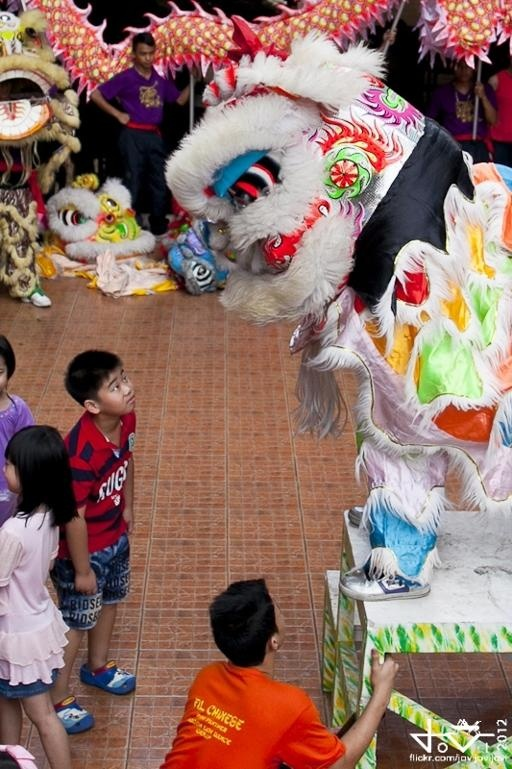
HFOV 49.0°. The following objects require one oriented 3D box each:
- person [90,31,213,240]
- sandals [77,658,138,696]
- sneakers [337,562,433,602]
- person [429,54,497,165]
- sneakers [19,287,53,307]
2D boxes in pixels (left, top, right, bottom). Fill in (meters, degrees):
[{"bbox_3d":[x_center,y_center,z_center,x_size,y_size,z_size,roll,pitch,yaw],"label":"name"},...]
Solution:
[{"bbox_3d":[-1.123,-2.423,5.736,0.821,1.759,0.633,-25,52,-31],"label":"person"},{"bbox_3d":[-0.469,0.905,1.776,0.164,0.065,0.079,7,13,21],"label":"sandals"},{"bbox_3d":[0.288,0.430,1.271,0.186,0.074,0.078,3,5,2],"label":"sneakers"},{"bbox_3d":[2.065,-2.686,5.536,0.728,0.794,0.582,15,42,8],"label":"person"},{"bbox_3d":[-1.862,-0.738,4.809,0.159,0.097,0.222,-19,25,-33],"label":"sneakers"}]
